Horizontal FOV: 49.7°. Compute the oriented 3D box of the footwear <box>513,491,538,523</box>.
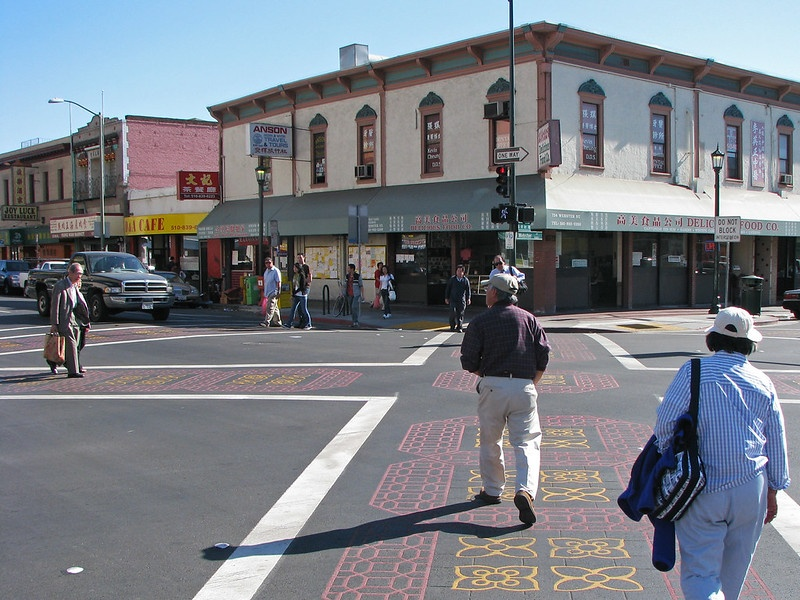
[{"bbox_3d":[1.157,1.846,7.815,0.147,0.331,0.145,-11,9,9],"label":"footwear"}]

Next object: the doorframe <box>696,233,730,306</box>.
[{"bbox_3d":[10.550,-1.026,29.134,0.136,2.585,2.333,2,3,43],"label":"doorframe"}]

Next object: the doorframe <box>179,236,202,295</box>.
[{"bbox_3d":[-9.313,-1.543,38.703,1.491,2.840,2.903,0,-1,-9],"label":"doorframe"}]

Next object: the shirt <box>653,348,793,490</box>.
[{"bbox_3d":[2.162,0.815,6.209,1.239,1.296,0.783,0,-2,13],"label":"shirt"}]

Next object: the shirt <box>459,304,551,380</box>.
[{"bbox_3d":[1.025,0.421,8.360,0.868,0.727,0.521,-1,-6,-9],"label":"shirt"}]

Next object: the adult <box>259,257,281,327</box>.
[{"bbox_3d":[-3.453,-0.190,23.489,0.573,1.857,0.997,0,7,-8],"label":"adult"}]

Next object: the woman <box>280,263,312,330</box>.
[{"bbox_3d":[-2.719,-0.094,23.221,0.819,1.748,0.561,0,-2,-4],"label":"woman"}]

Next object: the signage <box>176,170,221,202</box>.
[{"bbox_3d":[-8.796,-4.955,37.827,1.646,1.094,0.379,0,-6,-23],"label":"signage"}]

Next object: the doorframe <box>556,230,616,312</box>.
[{"bbox_3d":[5.879,-0.967,27.614,2.716,2.606,0.910,0,3,-22],"label":"doorframe"}]

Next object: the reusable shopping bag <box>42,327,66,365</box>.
[{"bbox_3d":[-5.774,0.786,14.464,0.609,0.756,0.267,10,11,44],"label":"reusable shopping bag"}]

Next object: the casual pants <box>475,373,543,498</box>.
[{"bbox_3d":[1.108,1.329,8.151,0.558,1.201,0.798,-2,8,-25],"label":"casual pants"}]

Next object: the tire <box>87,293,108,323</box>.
[{"bbox_3d":[-8.344,0.213,23.911,0.209,0.573,0.570,8,38,-37],"label":"tire"}]

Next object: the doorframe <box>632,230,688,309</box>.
[{"bbox_3d":[8.591,-1.038,28.682,2.390,2.447,0.112,-2,2,-36],"label":"doorframe"}]

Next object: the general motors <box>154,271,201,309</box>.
[{"bbox_3d":[-7.940,-0.351,31.891,1.242,1.007,2.889,0,1,-30],"label":"general motors"}]

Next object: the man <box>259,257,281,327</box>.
[{"bbox_3d":[-3.468,-0.199,23.518,0.552,1.847,1.059,0,7,-8],"label":"man"}]

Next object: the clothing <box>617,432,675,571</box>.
[{"bbox_3d":[1.869,1.570,6.521,0.483,0.469,1.120,-23,23,29],"label":"clothing"}]

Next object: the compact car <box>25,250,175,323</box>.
[{"bbox_3d":[-8.905,-0.406,25.590,2.025,1.594,4.188,0,0,-44],"label":"compact car"}]

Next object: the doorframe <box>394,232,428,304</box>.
[{"bbox_3d":[0.409,-0.627,30.263,1.206,3.404,1.922,-3,-25,3],"label":"doorframe"}]

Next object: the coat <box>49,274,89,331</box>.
[{"bbox_3d":[-5.578,0.060,14.424,0.290,0.857,0.714,5,8,30],"label":"coat"}]

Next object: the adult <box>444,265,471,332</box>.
[{"bbox_3d":[1.493,-0.049,21.570,0.641,1.661,0.440,3,8,23],"label":"adult"}]

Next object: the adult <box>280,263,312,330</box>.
[{"bbox_3d":[-2.735,-0.114,23.873,0.642,1.849,2.415,0,7,-6],"label":"adult"}]

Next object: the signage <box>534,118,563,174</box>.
[{"bbox_3d":[4.296,-4.319,24.549,0.441,1.319,1.308,-2,1,-5],"label":"signage"}]

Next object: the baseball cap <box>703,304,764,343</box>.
[{"bbox_3d":[2.421,0.172,6.120,0.340,0.193,0.227,-6,13,-44],"label":"baseball cap"}]
